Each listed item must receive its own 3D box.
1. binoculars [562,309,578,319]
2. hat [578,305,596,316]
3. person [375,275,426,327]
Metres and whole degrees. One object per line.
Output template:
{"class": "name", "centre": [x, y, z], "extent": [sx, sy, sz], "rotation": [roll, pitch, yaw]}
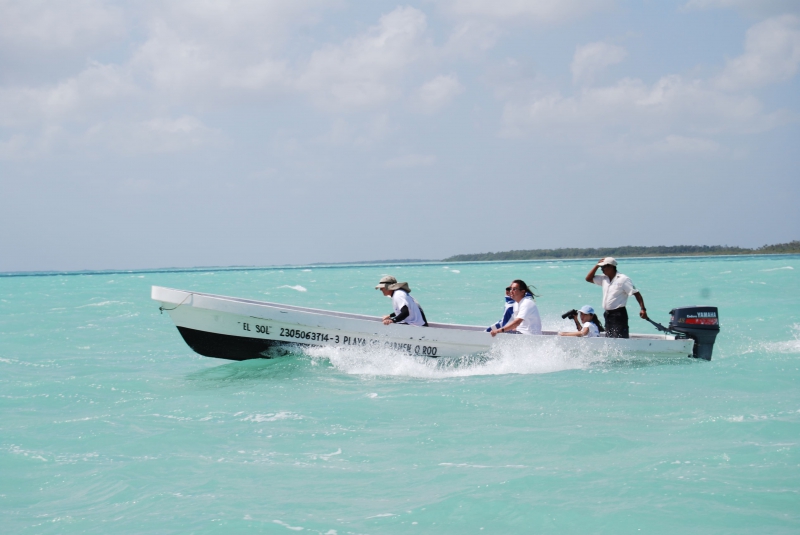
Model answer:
{"class": "binoculars", "centre": [3.955, 1.111, 21.059], "extent": [0.443, 0.142, 0.372], "rotation": [-12, -8, 7]}
{"class": "hat", "centre": [4.369, 1.009, 21.028], "extent": [0.266, 0.099, 0.364], "rotation": [-2, -10, 40]}
{"class": "person", "centre": [-0.003, 1.054, 27.636], "extent": [1.218, 1.763, 1.046], "rotation": [-26, -24, -5]}
